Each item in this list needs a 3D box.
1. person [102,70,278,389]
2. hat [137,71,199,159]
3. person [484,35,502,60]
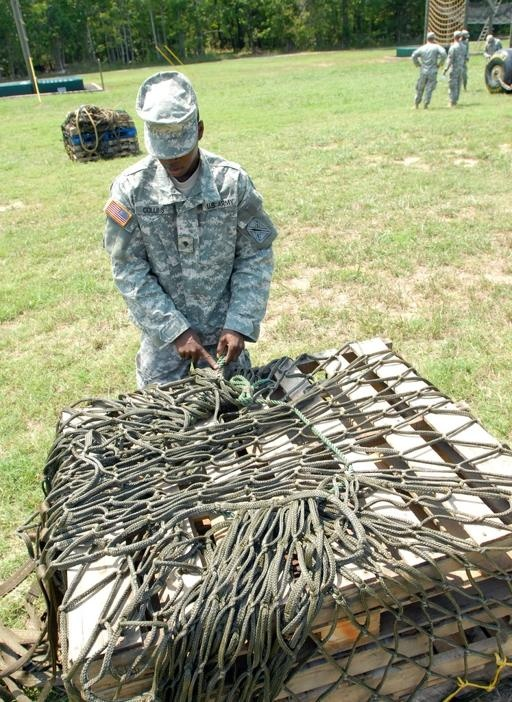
[{"bbox_3d":[-0.312,-0.226,2.889,0.837,1.902,0.766,-3,46,-8],"label":"person"},{"bbox_3d":[-0.334,-0.916,2.307,0.259,0.123,0.327,-11,69,8],"label":"hat"},{"bbox_3d":[6.849,-8.853,17.628,0.336,0.591,1.106,3,25,17],"label":"person"}]
